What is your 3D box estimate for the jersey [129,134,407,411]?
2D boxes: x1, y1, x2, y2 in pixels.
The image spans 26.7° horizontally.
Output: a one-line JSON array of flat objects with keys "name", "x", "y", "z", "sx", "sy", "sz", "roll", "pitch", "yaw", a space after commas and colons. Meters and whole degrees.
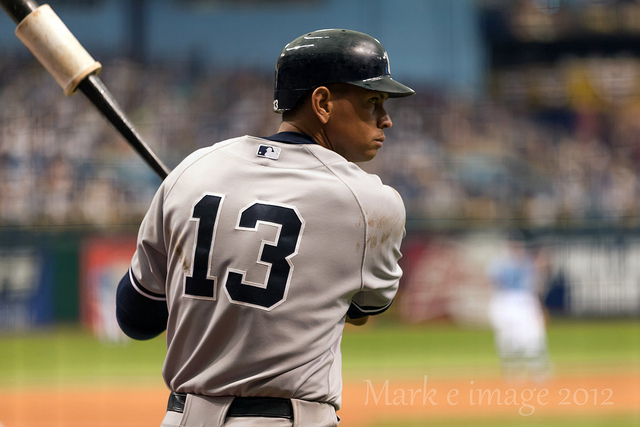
[{"name": "jersey", "x": -0.362, "y": 0.427, "z": 8.949, "sx": 1.925, "sy": 1.622, "sz": 1.266, "roll": 6, "pitch": 2, "yaw": 18}]
